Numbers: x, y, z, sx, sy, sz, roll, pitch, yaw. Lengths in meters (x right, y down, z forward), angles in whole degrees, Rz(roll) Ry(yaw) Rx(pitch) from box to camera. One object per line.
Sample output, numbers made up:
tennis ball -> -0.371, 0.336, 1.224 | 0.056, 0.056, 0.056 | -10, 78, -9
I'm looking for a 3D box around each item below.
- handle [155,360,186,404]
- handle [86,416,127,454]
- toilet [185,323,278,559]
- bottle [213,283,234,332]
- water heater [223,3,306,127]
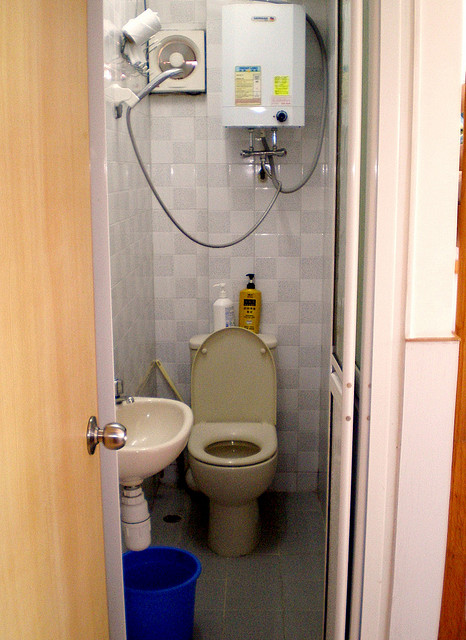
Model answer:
handle -> -0.308, 0.284, 2.630 | 0.020, 0.222, 0.023 | -18, 14, 26
handle -> -0.201, 0.184, 0.878 | 0.058, 0.057, 0.063 | 1, 17, -6
toilet -> -0.010, 0.498, 2.358 | 0.385, 0.899, 0.589 | 1, 9, 4
bottle -> -0.038, -0.046, 2.580 | 0.077, 0.263, 0.082 | -7, -2, 0
water heater -> 0.126, -1.045, 2.248 | 0.337, 0.469, 0.057 | 1, 8, 0
